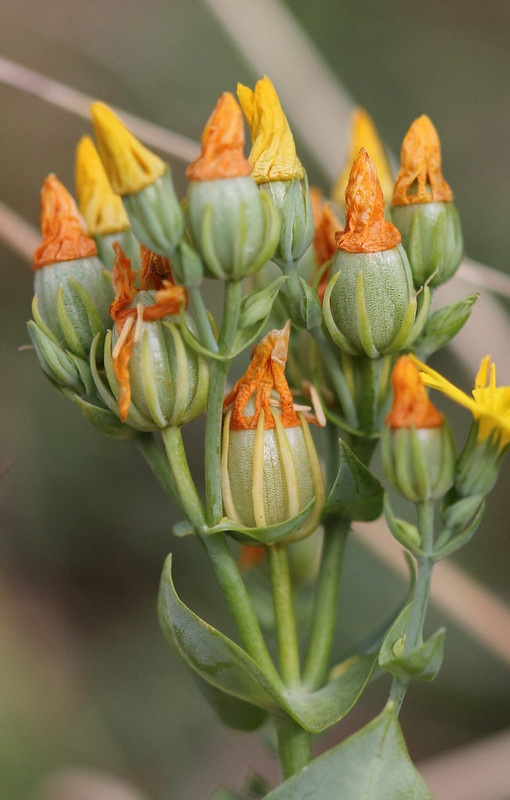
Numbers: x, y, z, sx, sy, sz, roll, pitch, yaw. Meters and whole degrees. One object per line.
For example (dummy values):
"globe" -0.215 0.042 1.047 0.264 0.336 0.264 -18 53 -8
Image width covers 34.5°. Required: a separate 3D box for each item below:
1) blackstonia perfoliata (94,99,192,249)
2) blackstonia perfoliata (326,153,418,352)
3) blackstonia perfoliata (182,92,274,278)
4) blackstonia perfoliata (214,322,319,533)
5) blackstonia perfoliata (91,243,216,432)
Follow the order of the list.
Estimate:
"blackstonia perfoliata" -0.048 -0.092 0.348 0.052 0.054 0.023 26 32 28
"blackstonia perfoliata" 0.057 -0.069 0.405 0.055 0.097 0.043 -9 20 -18
"blackstonia perfoliata" -0.012 -0.086 0.343 0.033 0.074 0.045 -10 34 -33
"blackstonia perfoliata" 0.009 0.021 0.407 0.049 0.102 0.045 -3 5 -40
"blackstonia perfoliata" -0.047 -0.019 0.386 0.047 0.090 0.058 -2 30 -21
